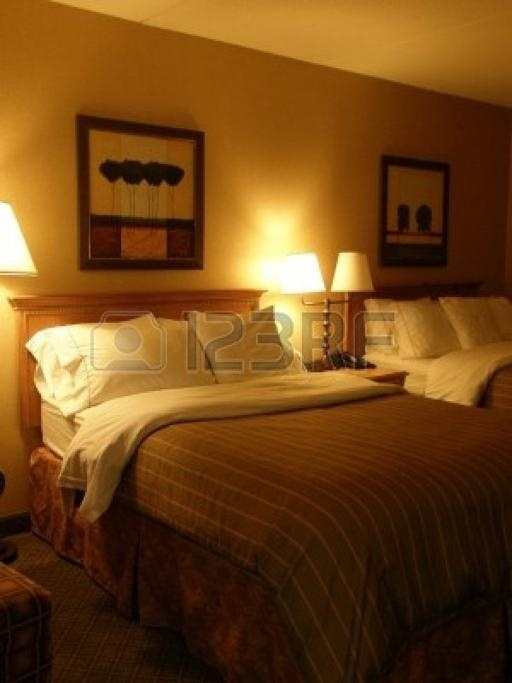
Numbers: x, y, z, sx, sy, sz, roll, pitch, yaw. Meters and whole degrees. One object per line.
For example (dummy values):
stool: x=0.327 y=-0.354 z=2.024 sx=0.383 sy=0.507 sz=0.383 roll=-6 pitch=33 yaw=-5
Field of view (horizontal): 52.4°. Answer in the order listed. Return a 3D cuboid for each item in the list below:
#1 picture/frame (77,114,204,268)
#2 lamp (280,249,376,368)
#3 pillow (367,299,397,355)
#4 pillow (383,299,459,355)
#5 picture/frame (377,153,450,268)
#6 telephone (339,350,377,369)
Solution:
picture/frame: x=-0.739 y=-0.942 z=3.220 sx=0.954 sy=1.041 sz=0.037 roll=-2 pitch=6 yaw=-40
lamp: x=0.534 y=-0.250 z=4.029 sx=0.802 sy=1.083 sz=0.344 roll=-5 pitch=7 yaw=-34
pillow: x=1.006 y=-0.105 z=4.290 sx=0.269 sy=0.515 sz=0.059 roll=0 pitch=-16 yaw=13
pillow: x=1.331 y=-0.108 z=4.131 sx=0.440 sy=0.464 sz=0.125 roll=-3 pitch=-22 yaw=-24
picture/frame: x=1.380 y=-1.199 z=4.688 sx=0.987 sy=1.156 sz=0.045 roll=-4 pitch=6 yaw=-43
telephone: x=0.747 y=0.161 z=4.057 sx=0.195 sy=0.085 sz=0.147 roll=10 pitch=11 yaw=42
